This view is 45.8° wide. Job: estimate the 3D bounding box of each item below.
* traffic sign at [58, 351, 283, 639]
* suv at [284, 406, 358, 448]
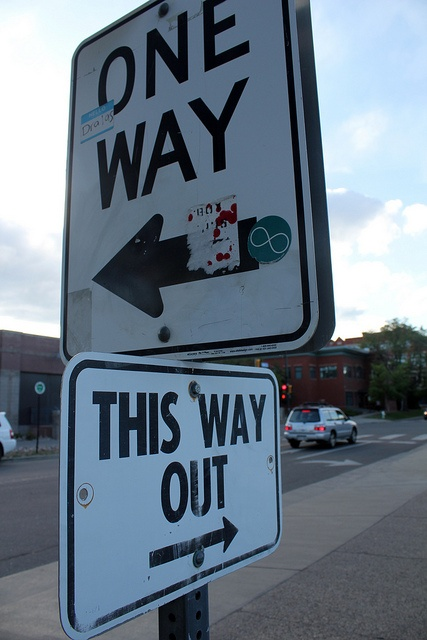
[{"bbox_3d":[-0.041,0.308,1.015,0.099,0.452,0.665,-6,-10,30],"label":"traffic sign"},{"bbox_3d":[4.175,4.130,19.561,1.314,1.390,2.966,-4,-5,36],"label":"suv"}]
